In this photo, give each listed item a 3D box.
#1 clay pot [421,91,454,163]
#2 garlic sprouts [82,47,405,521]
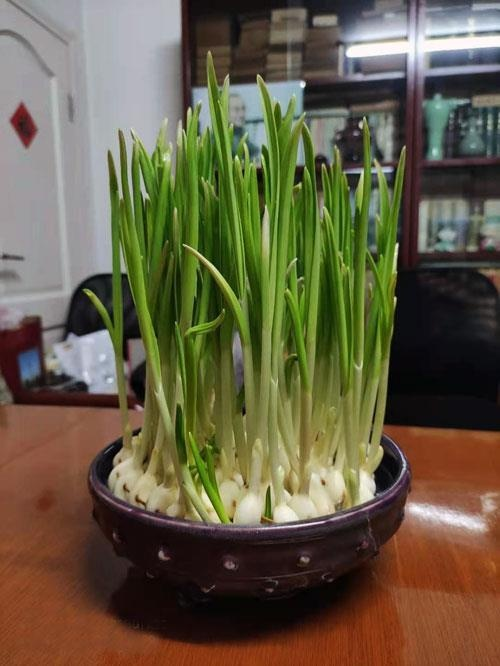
[{"bbox_3d":[0.661,-0.742,1.941,0.108,0.274,0.073,7,14,25],"label":"clay pot"},{"bbox_3d":[-0.010,-0.047,0.426,0.163,0.445,0.216,-3,15,-10],"label":"garlic sprouts"}]
